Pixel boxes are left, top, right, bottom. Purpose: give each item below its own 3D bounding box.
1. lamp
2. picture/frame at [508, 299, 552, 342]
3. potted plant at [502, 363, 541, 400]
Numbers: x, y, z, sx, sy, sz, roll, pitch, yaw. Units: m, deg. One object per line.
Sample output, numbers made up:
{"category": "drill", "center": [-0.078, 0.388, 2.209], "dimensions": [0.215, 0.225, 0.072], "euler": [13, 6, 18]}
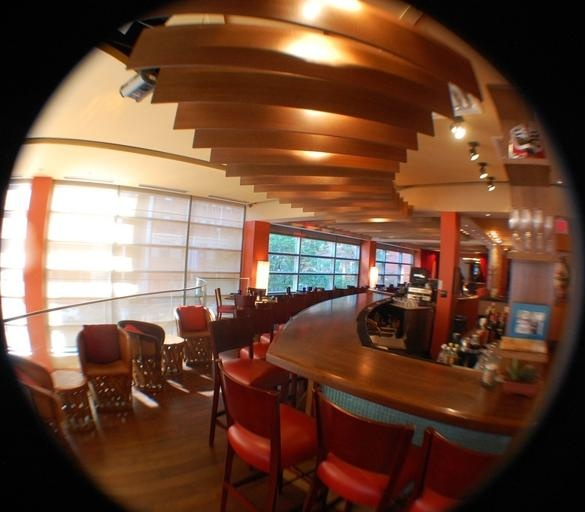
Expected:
{"category": "lamp", "center": [2.085, -1.171, 5.006], "dimensions": [0.157, 0.189, 0.848], "euler": [-33, -42, 13]}
{"category": "picture/frame", "center": [1.482, 0.411, 2.707], "dimensions": [0.249, 0.258, 0.037], "euler": [0, -14, 32]}
{"category": "potted plant", "center": [1.186, 0.654, 2.287], "dimensions": [0.184, 0.071, 0.195], "euler": [1, -3, -34]}
